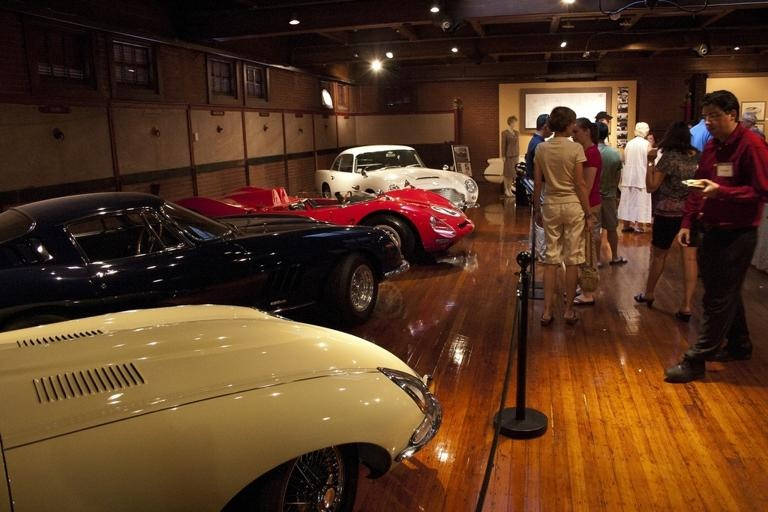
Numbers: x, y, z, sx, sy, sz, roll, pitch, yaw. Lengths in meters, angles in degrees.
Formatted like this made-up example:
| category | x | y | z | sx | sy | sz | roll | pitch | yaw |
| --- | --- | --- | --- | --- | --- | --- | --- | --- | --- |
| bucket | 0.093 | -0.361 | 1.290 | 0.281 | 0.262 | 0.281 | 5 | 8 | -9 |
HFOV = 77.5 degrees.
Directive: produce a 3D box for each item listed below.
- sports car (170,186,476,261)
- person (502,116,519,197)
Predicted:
| category | x | y | z | sx | sy | sz | roll | pitch | yaw |
| --- | --- | --- | --- | --- | --- | --- | --- | --- | --- |
| sports car | -0.618 | -0.615 | 7.000 | 3.206 | 0.708 | 1.780 | 1 | 2 | 4 |
| person | 3.593 | -2.849 | 13.598 | 0.464 | 2.208 | 1.515 | 1 | 16 | 13 |
